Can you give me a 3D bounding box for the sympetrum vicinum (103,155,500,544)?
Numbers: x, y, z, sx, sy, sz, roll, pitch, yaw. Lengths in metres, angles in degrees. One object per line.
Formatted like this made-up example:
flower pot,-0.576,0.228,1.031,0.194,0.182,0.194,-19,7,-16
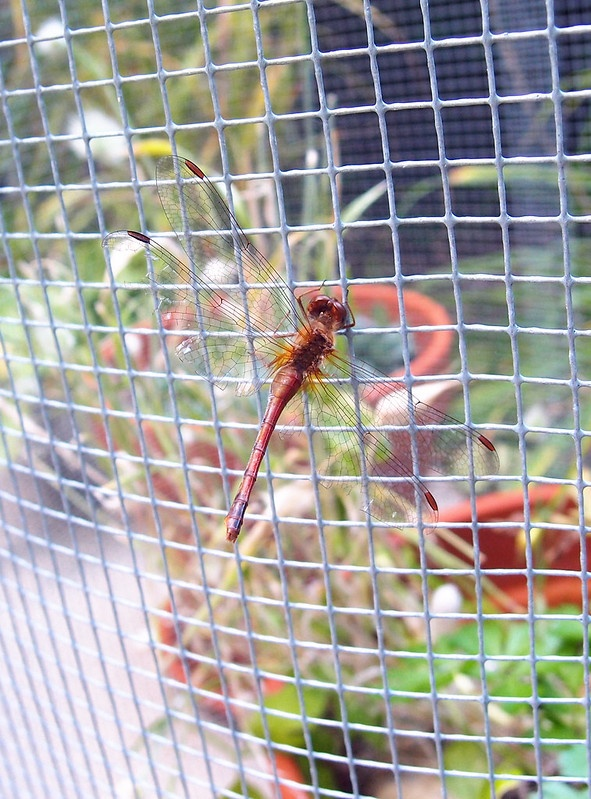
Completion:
sympetrum vicinum,-0.027,-0.015,0.671,0.174,0.245,0.365,51,-35,-14
